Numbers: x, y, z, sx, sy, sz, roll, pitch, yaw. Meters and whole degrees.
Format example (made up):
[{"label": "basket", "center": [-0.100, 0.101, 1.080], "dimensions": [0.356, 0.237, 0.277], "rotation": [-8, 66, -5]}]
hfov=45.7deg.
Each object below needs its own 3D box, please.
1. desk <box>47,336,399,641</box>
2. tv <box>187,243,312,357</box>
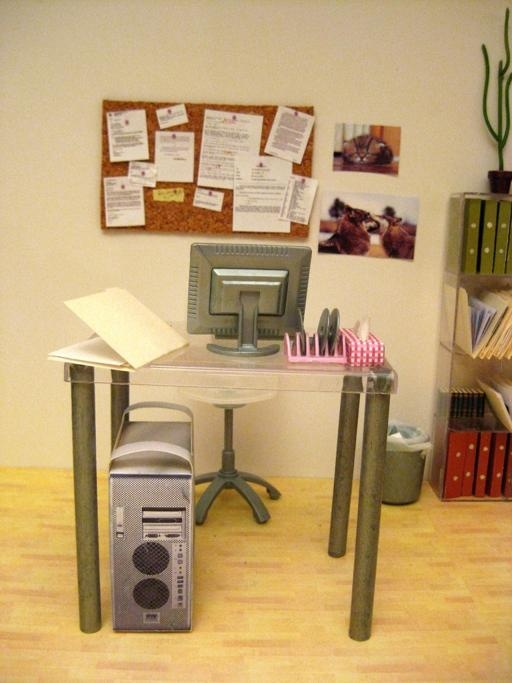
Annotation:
[{"label": "desk", "center": [-0.082, 0.413, 1.924], "dimensions": [0.950, 0.731, 0.635], "rotation": [2, 4, -2]}, {"label": "tv", "center": [-0.026, -0.122, 1.815], "dimensions": [0.334, 0.286, 0.152], "rotation": [2, 28, -3]}]
